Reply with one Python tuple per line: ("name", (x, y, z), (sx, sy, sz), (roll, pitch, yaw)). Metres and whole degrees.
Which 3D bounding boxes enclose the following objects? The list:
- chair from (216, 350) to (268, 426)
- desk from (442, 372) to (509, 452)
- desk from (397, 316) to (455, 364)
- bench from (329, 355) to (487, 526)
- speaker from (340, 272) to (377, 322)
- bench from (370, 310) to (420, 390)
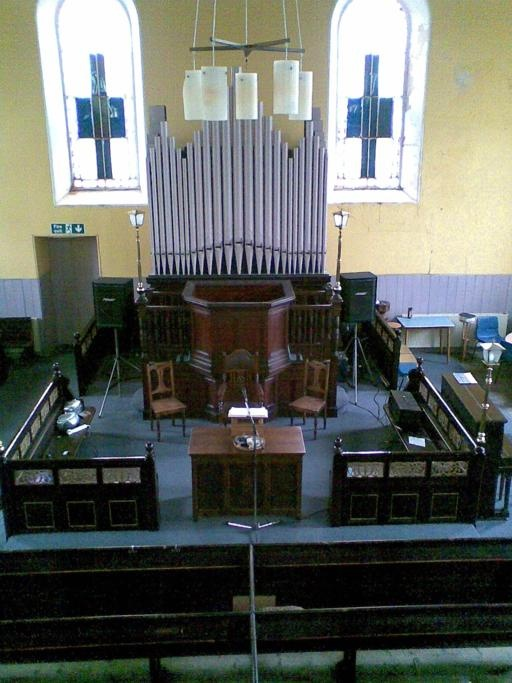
("chair", (-0.183, 0.550, 7.423), (0.743, 1.218, 0.704), (-1, 33, -1))
("desk", (2.559, 0.852, 6.951), (0.208, 0.341, 0.932), (-8, 24, -3))
("desk", (3.232, -0.003, 11.287), (1.076, 0.786, 0.849), (0, 31, 3))
("bench", (1.637, 1.213, 6.752), (1.581, 0.990, 1.982), (1, 16, 6))
("speaker", (1.510, -0.718, 9.212), (0.683, 0.953, 0.682), (-1, 16, 0))
("bench", (2.256, 0.153, 9.715), (0.347, 0.675, 1.178), (-4, 35, -6))
